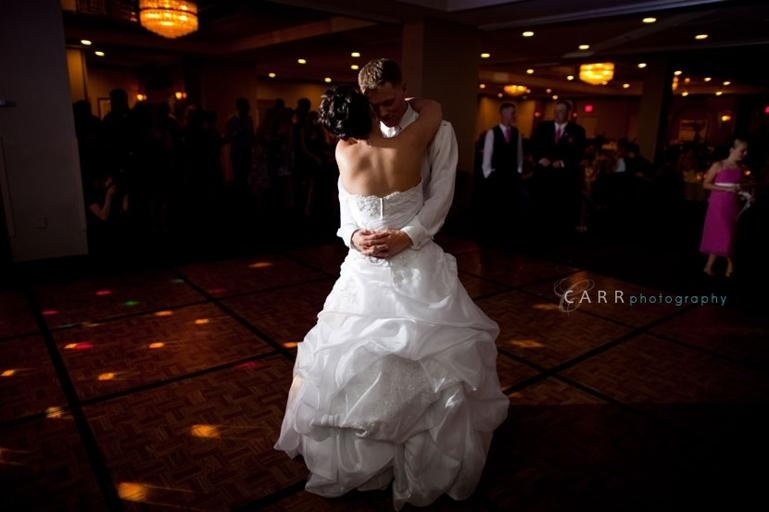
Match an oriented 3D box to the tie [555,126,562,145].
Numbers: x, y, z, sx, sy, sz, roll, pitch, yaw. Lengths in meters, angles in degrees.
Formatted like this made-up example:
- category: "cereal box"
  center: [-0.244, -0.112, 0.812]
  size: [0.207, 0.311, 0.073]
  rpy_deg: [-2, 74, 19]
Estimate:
- category: "tie"
  center: [1.787, -1.252, 5.278]
  size: [0.033, 0.133, 0.095]
  rpy_deg: [4, 7, -7]
